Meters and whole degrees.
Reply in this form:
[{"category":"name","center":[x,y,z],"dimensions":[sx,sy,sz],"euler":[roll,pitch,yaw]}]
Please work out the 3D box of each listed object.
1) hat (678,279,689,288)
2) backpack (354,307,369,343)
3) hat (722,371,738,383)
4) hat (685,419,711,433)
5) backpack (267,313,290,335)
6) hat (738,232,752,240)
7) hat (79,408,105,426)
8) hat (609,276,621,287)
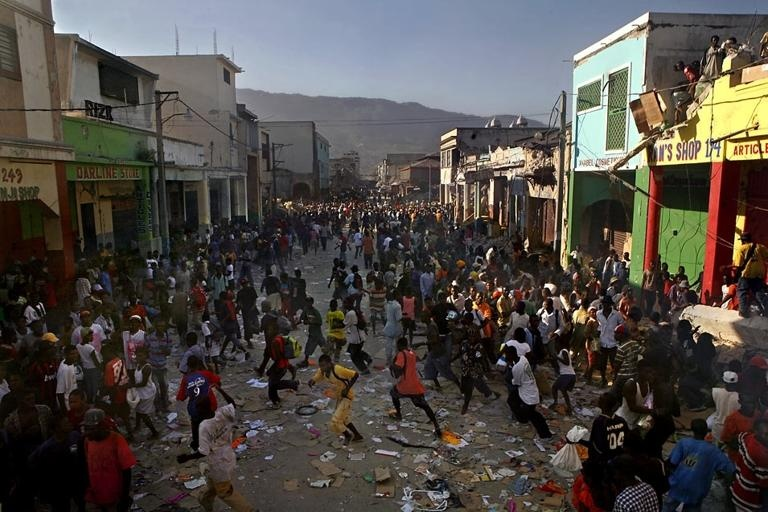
[{"category":"hat","center":[8.156,0.730,15.625],"dimensions":[0.218,0.096,0.219],"euler":[-7,7,-8]},{"category":"backpack","center":[-0.564,1.699,14.153],"dimensions":[0.277,0.665,0.480],"euler":[4,8,-6]},{"category":"hat","center":[6.240,2.181,10.391],"dimensions":[0.222,0.225,0.283],"euler":[1,7,29]},{"category":"hat","center":[5.133,2.754,9.374],"dimensions":[0.249,0.278,0.167],"euler":[-2,6,3]},{"category":"backpack","center":[-2.617,1.687,14.603],"dimensions":[0.471,0.284,0.647],"euler":[10,10,-36]},{"category":"hat","center":[9.119,-0.521,14.561],"dimensions":[0.234,0.171,0.330],"euler":[0,-12,39]},{"category":"hat","center":[-4.773,2.620,9.419],"dimensions":[0.325,0.169,0.235],"euler":[2,-2,-41]},{"category":"hat","center":[6.323,0.681,15.795],"dimensions":[0.304,0.100,0.313],"euler":[-13,7,41]}]
